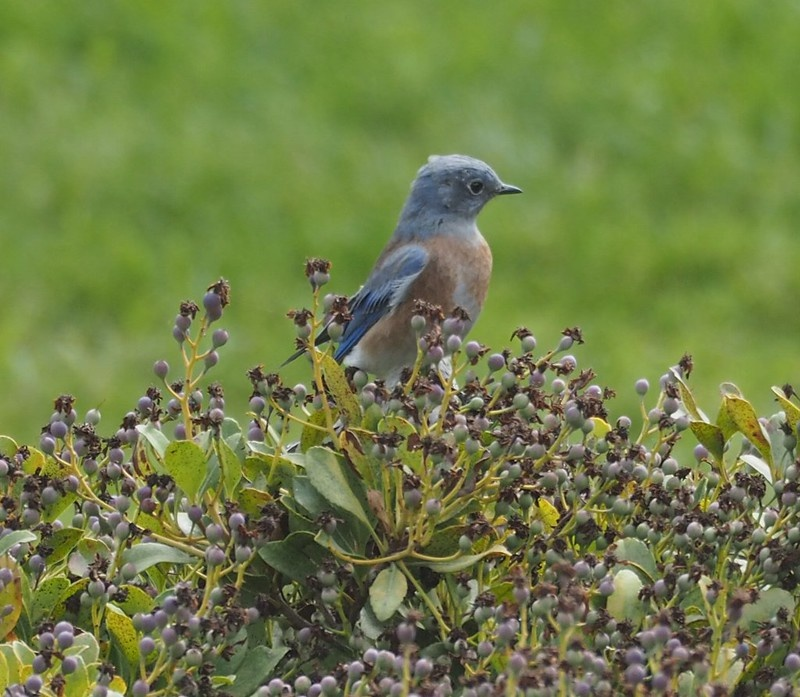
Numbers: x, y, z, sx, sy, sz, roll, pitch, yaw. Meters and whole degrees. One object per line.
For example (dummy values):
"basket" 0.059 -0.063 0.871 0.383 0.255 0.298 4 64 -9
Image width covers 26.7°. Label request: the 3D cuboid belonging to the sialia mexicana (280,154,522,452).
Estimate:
"sialia mexicana" 0.042 -0.197 4.244 0.620 0.768 0.382 -1 0 2
